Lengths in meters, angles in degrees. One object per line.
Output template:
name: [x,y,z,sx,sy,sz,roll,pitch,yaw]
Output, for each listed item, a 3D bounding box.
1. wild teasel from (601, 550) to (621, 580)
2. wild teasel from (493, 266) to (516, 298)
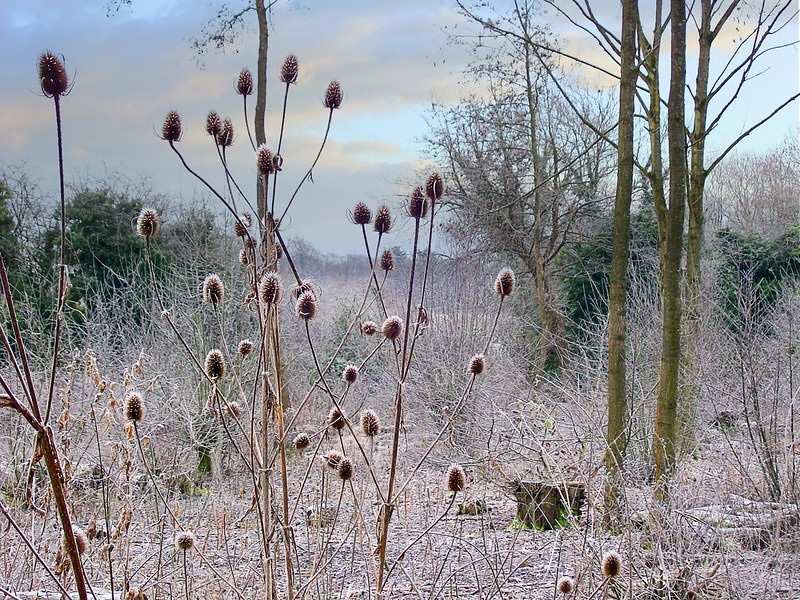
wild teasel: [2.366,2.969,13.329,0.209,0.251,0.295,-7,-4,10]
wild teasel: [1.187,-0.182,13.465,0.163,0.408,0.158,13,1,-22]
